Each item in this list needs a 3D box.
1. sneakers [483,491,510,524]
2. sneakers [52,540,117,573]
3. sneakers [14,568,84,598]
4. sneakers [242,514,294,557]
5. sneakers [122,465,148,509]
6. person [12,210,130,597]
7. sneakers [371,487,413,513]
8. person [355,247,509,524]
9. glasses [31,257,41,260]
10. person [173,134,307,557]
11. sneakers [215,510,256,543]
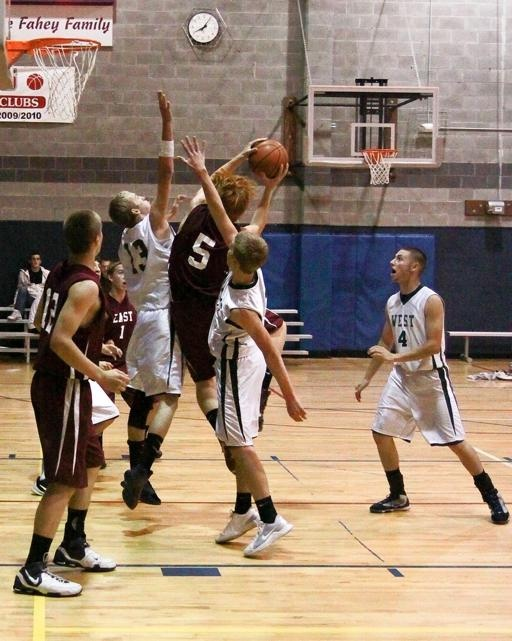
[{"bbox_3d":[1.215,0.959,4.268,0.076,0.089,0.207,-34,24,13],"label":"sneakers"},{"bbox_3d":[-0.703,0.973,3.421,0.301,0.123,0.101,7,-1,-4],"label":"sneakers"},{"bbox_3d":[-0.780,0.977,3.113,0.285,0.111,0.100,4,-2,-4],"label":"sneakers"},{"bbox_3d":[0.035,0.945,3.672,0.194,0.201,0.256,1,3,-7],"label":"sneakers"},{"bbox_3d":[-0.522,0.784,3.830,0.092,0.156,0.244,17,-10,5],"label":"sneakers"},{"bbox_3d":[-0.709,0.300,3.172,0.414,1.465,0.551,1,3,-10],"label":"person"},{"bbox_3d":[0.717,0.969,4.399,0.248,0.107,0.082,-1,-3,-13],"label":"sneakers"},{"bbox_3d":[0.905,0.318,4.402,0.750,1.404,0.622,2,3,5],"label":"person"},{"bbox_3d":[-2.887,-0.807,10.835,0.061,0.042,0.057,3,-7,-5],"label":"glasses"},{"bbox_3d":[-0.065,0.164,3.679,0.429,1.774,0.670,1,3,-16],"label":"person"},{"bbox_3d":[-0.094,0.971,3.863,0.222,0.098,0.073,-33,-1,2],"label":"sneakers"}]
